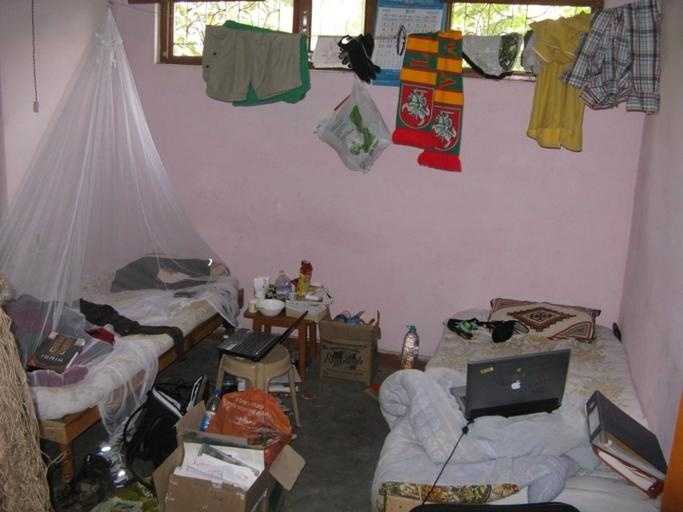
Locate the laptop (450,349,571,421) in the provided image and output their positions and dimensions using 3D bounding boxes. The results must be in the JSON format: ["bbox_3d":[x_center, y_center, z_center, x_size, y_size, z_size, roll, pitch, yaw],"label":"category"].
[{"bbox_3d":[0.890,0.642,2.834,0.494,0.380,0.366,-3,28,-4],"label":"laptop"}]

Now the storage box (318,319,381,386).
[{"bbox_3d":[0.069,0.687,4.385,0.528,0.539,0.453,3,5,16],"label":"storage box"}]

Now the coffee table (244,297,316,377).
[{"bbox_3d":[-0.484,0.618,4.416,0.514,0.512,0.525,1,10,1],"label":"coffee table"}]

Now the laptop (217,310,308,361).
[{"bbox_3d":[-0.581,0.455,3.513,0.300,0.206,0.333,15,19,18],"label":"laptop"}]

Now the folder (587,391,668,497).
[{"bbox_3d":[1.418,0.908,2.732,0.389,0.338,0.413,9,13,25],"label":"folder"}]

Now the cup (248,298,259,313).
[{"bbox_3d":[-0.710,0.389,4.262,0.094,0.088,0.076,4,10,7],"label":"cup"}]

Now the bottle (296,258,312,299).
[{"bbox_3d":[-0.303,0.170,4.432,0.113,0.267,0.281,2,12,-5],"label":"bottle"}]

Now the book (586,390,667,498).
[{"bbox_3d":[1.344,0.970,2.699,0.409,0.148,0.409,47,34,14],"label":"book"}]
